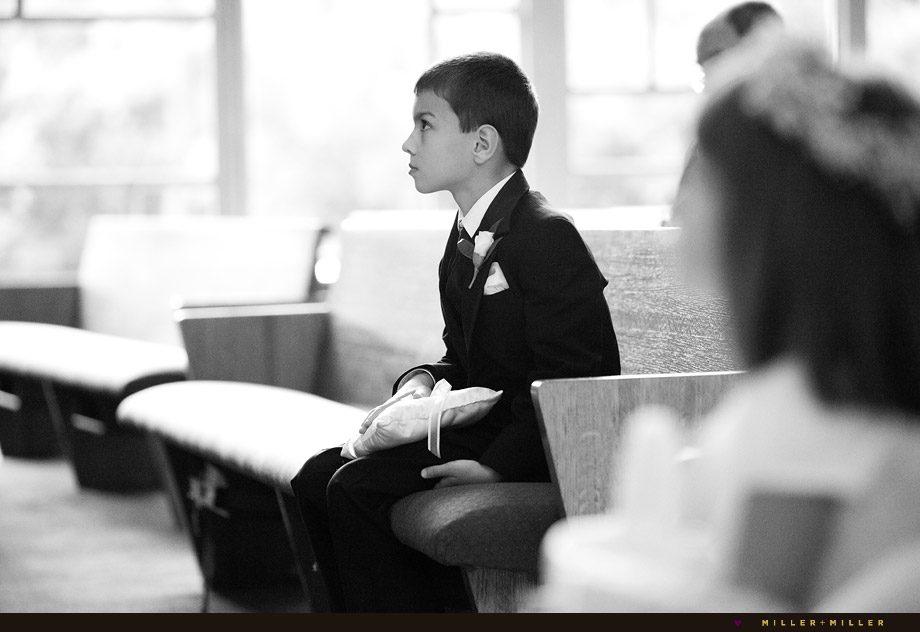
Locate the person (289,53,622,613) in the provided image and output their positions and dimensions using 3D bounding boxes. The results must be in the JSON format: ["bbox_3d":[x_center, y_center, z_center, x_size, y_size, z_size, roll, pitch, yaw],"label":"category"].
[{"bbox_3d":[-0.023,0.129,1.745,0.581,1.090,0.446,-1,5,-15],"label":"person"}]
